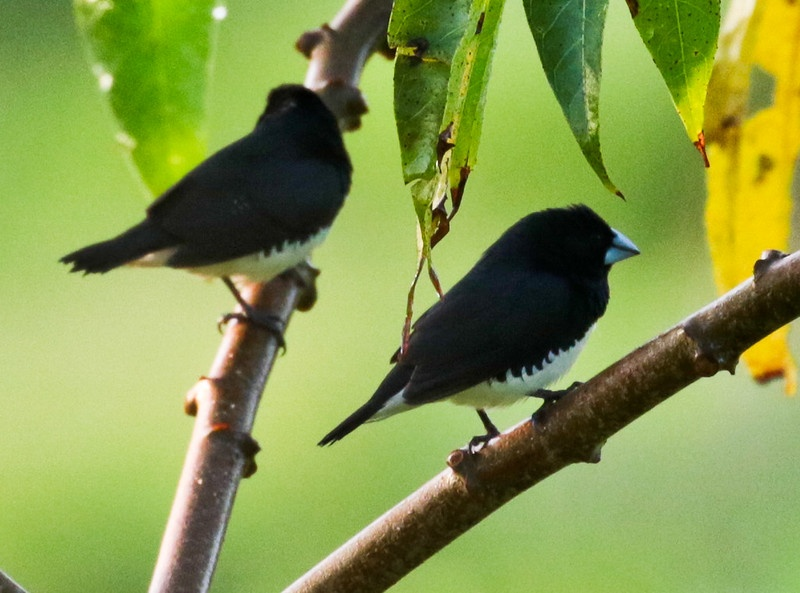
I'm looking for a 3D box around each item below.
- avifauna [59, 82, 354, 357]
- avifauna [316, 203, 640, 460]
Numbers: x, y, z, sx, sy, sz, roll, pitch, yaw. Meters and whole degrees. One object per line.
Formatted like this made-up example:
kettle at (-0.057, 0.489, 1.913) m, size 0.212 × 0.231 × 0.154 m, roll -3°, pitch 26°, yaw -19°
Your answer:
avifauna at (-0.229, -0.133, 1.589) m, size 0.439 × 0.335 × 0.221 m, roll 0°, pitch 6°, yaw -37°
avifauna at (0.110, 0.039, 1.551) m, size 0.466 × 0.303 × 0.221 m, roll -7°, pitch 2°, yaw -11°
